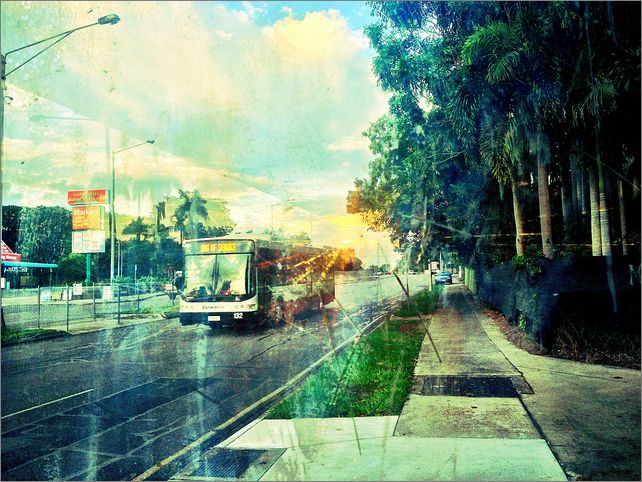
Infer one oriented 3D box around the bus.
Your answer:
[{"bbox_3d":[-2.093,1.867,26.594,2.716,3.474,11.081,-3,-8,17],"label":"bus"}]
